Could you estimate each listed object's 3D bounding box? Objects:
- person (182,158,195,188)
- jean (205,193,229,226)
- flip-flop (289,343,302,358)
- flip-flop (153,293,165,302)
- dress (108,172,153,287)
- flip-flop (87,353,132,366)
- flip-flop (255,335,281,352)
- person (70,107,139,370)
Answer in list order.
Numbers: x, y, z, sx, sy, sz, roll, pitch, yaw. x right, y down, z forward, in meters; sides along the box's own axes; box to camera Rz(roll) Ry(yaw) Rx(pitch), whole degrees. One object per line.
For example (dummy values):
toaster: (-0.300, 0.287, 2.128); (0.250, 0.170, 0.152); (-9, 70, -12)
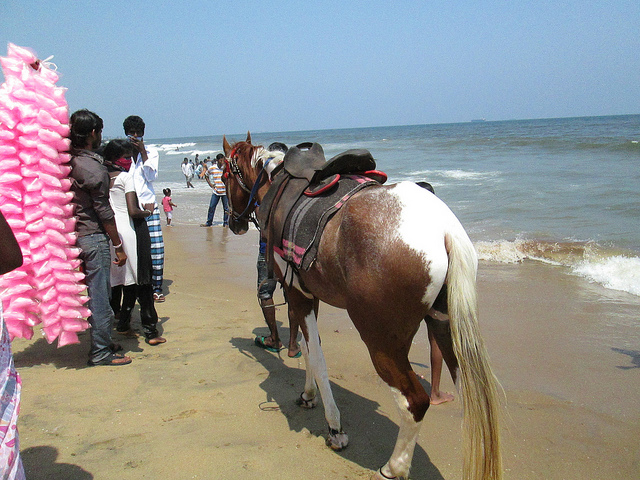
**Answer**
person: (-6.923, -3.547, 25.449); (0.493, 1.475, 1.526); (-3, 13, -16)
jean: (-2.850, -0.962, 13.615); (0.679, 0.355, 1.579); (2, 43, -9)
flip-flop: (-0.274, 1.350, 5.928); (0.110, 0.139, 0.170); (5, 13, 21)
flip-flop: (-2.379, 0.834, 7.147); (0.145, 0.122, 0.168); (-4, 13, -21)
dress: (-2.224, -0.118, 5.649); (0.495, 1.307, 0.368); (2, 13, 6)
flip-flop: (-2.304, 1.310, 5.352); (0.474, 0.173, 0.156); (-2, 2, -13)
flip-flop: (-0.647, 1.324, 6.043); (0.351, 0.103, 0.129); (22, 12, 22)
person: (-2.368, -0.005, 5.269); (0.512, 2.716, 0.844); (-6, 14, -26)
